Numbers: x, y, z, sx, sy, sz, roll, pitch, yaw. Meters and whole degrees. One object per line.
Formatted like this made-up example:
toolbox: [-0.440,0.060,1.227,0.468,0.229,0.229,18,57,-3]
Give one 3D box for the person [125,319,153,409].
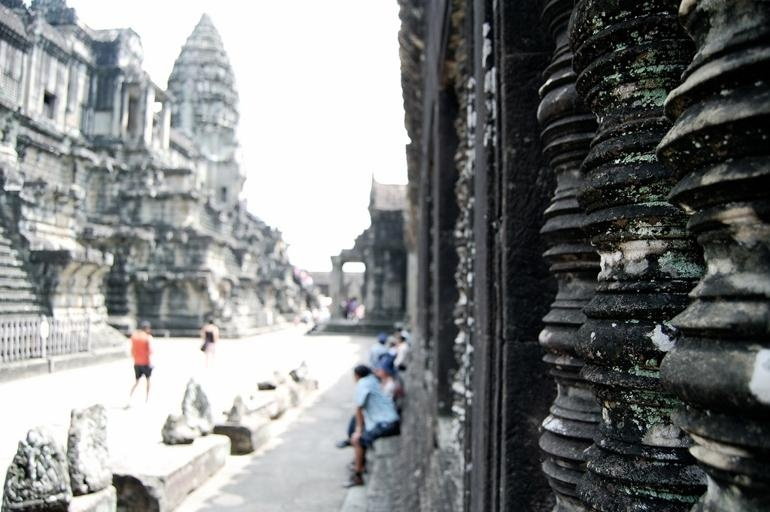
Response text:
person: [-4.564,1.989,14.991,0.383,1.498,1.262,1,8,-17]
